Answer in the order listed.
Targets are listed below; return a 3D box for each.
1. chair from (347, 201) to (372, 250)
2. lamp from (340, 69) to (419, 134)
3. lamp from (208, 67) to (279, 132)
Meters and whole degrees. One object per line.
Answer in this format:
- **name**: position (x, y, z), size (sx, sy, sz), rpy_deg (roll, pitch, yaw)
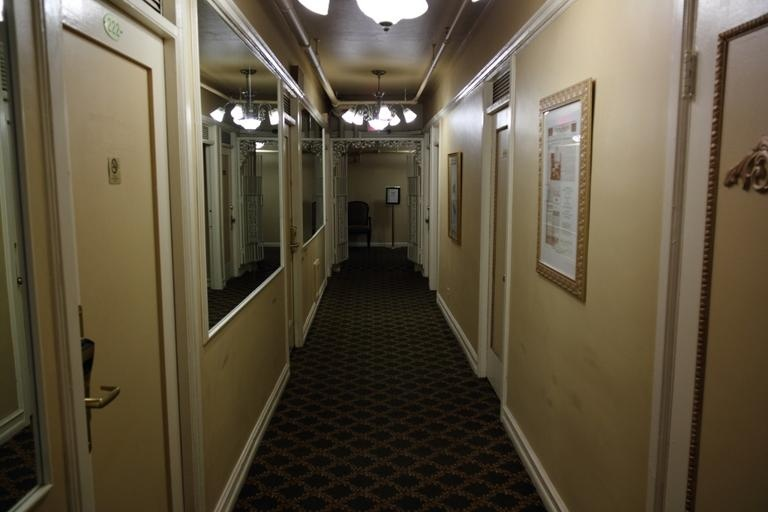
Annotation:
- **chair**: position (-0.618, -0.896, 13.546), size (0.897, 1.650, 0.977), rpy_deg (0, 4, -3)
- **lamp**: position (-0.210, -2.425, 8.177), size (0.770, 0.644, 0.772), rpy_deg (20, 27, 20)
- **lamp**: position (-0.957, -1.078, 3.616), size (0.381, 0.328, 0.398), rpy_deg (10, 18, 26)
